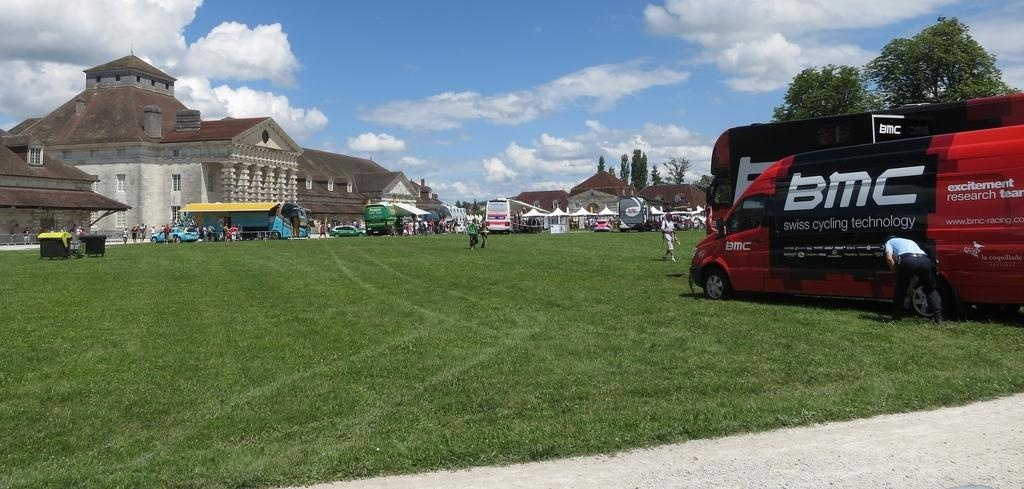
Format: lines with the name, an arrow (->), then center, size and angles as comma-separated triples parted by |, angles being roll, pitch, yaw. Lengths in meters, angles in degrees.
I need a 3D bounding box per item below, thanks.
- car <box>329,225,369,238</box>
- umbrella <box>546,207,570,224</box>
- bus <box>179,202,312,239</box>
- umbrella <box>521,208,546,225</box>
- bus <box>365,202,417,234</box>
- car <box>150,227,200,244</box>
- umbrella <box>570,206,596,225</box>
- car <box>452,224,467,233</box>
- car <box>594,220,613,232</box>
car -> -22.782, -1.864, 88.305 | 4.945, 1.302, 2.104 | -3, 2, -4
umbrella -> 6.906, -4.368, 97.449 | 2.753, 1.445, 2.656 | -1, 7, -1
bus -> -32.408, -3.023, 76.940 | 13.955, 3.891, 5.466 | 0, 3, -2
umbrella -> 3.151, -4.226, 95.171 | 3.008, 1.313, 2.712 | 1, 5, 8
bus -> -16.706, -3.257, 87.739 | 4.545, 3.192, 7.299 | -2, 0, 23
car -> -37.202, -0.978, 69.959 | 4.983, 1.436, 2.244 | 3, 1, 12
umbrella -> 12.350, -5.718, 115.931 | 4.219, 1.926, 3.784 | -2, 1, -6
car -> -9.001, -2.776, 111.164 | 1.915, 1.238, 2.999 | 0, 2, 1
car -> 12.563, -2.825, 89.553 | 2.209, 1.440, 1.111 | -1, 3, 34
